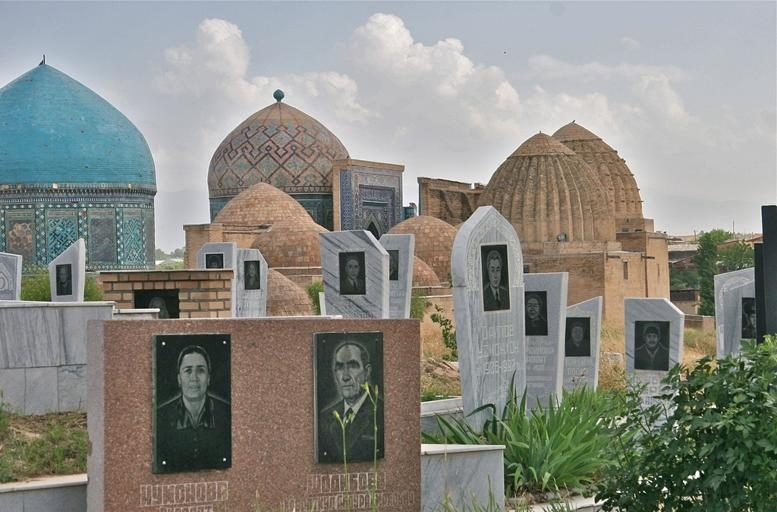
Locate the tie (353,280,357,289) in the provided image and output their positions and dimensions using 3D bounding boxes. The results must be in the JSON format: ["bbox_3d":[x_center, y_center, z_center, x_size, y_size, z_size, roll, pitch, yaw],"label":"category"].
[{"bbox_3d":[-0.468,0.413,21.411,0.081,0.130,0.025,-5,-7,26],"label":"tie"}]
